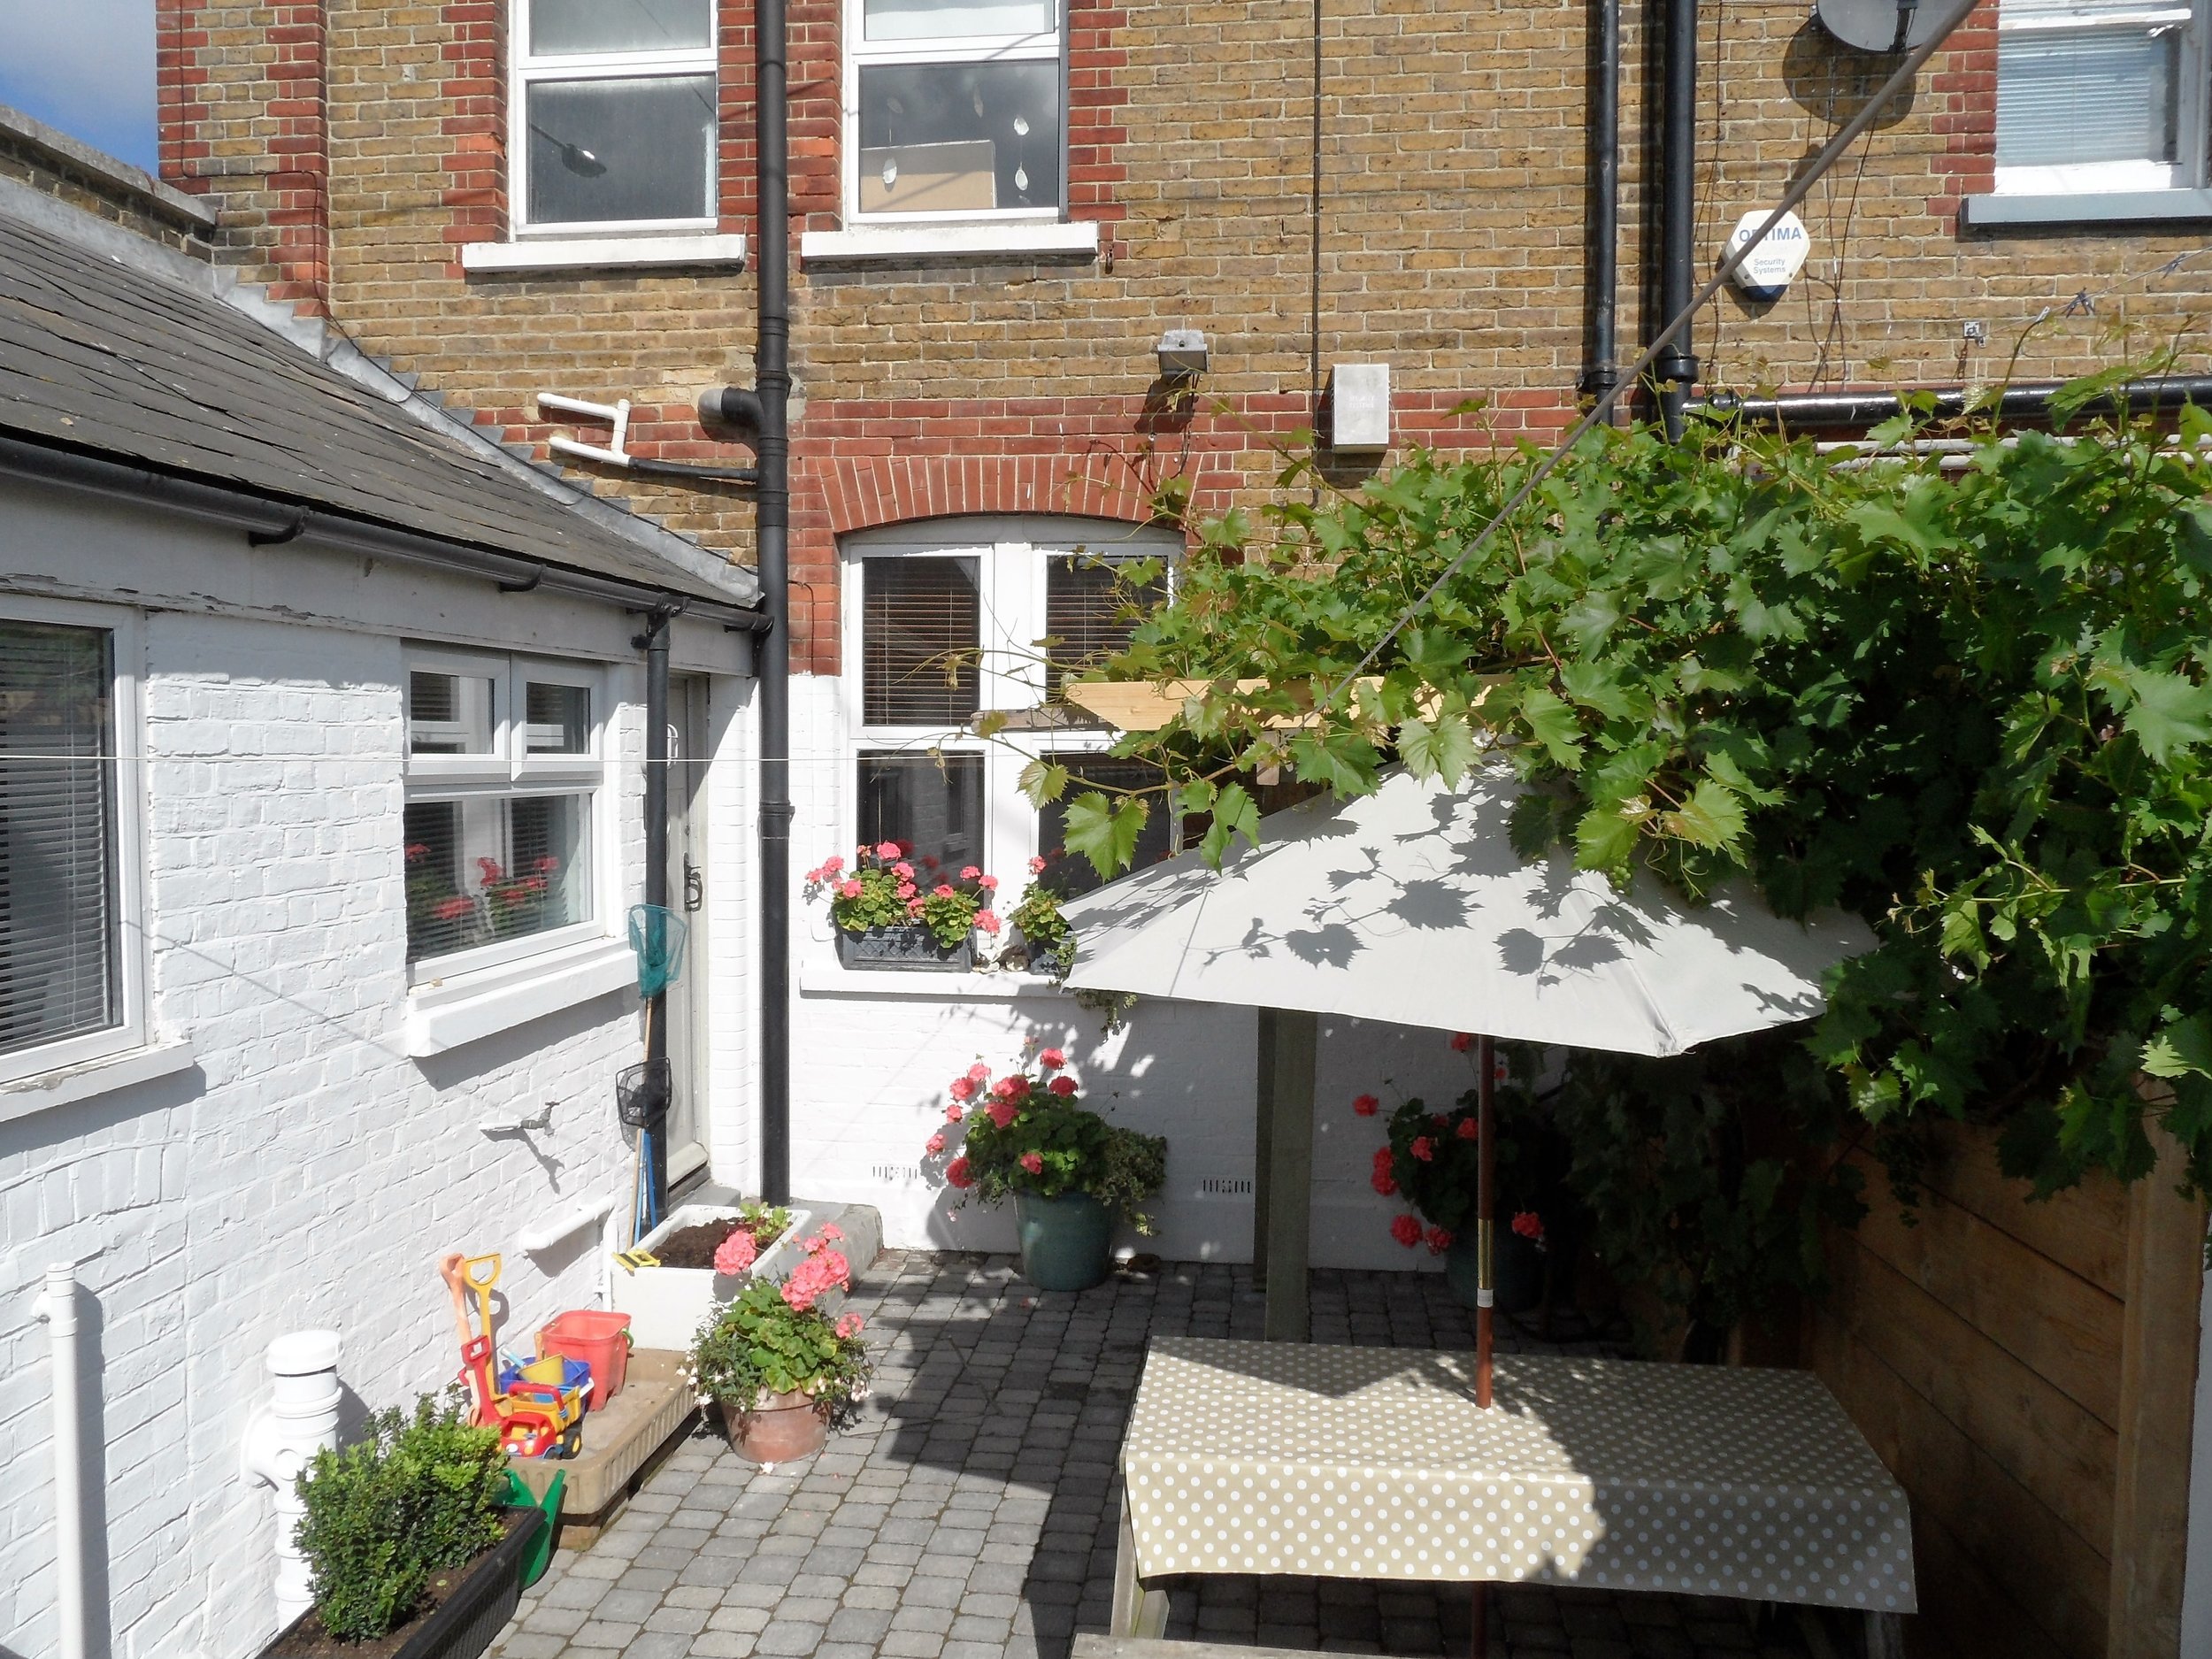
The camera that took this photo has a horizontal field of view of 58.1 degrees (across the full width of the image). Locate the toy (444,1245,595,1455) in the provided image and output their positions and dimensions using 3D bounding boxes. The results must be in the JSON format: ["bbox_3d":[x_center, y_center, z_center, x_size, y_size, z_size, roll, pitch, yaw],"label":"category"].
[{"bbox_3d":[-2.260,1.969,7.805,0.580,0.821,0.580,0,5,5],"label":"toy"}]

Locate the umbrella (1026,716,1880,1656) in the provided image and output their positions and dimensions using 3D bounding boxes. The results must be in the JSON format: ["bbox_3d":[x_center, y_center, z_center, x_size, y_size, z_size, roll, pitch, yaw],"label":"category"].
[{"bbox_3d":[1.073,1.272,7.146,2.490,2.805,2.572,1,12,6],"label":"umbrella"}]

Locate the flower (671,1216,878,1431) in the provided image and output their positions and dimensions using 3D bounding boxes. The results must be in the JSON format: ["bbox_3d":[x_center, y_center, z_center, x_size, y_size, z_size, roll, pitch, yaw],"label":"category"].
[{"bbox_3d":[-1.384,2.156,8.298,0.786,0.749,0.788,14,-7,-4],"label":"flower"}]

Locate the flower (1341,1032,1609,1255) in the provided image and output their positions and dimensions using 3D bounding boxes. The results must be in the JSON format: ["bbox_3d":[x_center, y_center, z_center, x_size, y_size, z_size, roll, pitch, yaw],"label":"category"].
[{"bbox_3d":[1.633,1.457,9.015,0.837,1.154,1.058,-1,3,-7],"label":"flower"}]

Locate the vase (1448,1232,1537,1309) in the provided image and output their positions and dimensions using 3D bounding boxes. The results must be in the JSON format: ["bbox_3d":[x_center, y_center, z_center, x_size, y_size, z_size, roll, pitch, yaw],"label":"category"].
[{"bbox_3d":[1.823,2.051,9.329,0.413,0.384,0.461,1,1,-12],"label":"vase"}]

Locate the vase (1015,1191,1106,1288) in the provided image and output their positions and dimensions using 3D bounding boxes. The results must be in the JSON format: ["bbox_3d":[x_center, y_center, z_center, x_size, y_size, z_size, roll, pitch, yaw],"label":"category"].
[{"bbox_3d":[-0.213,2.004,9.778,0.305,0.357,0.433,0,-3,0],"label":"vase"}]

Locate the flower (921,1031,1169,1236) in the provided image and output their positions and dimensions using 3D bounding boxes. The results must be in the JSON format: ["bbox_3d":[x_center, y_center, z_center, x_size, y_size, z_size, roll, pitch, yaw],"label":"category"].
[{"bbox_3d":[-0.438,1.492,9.896,0.767,0.516,0.865,1,0,-29],"label":"flower"}]
